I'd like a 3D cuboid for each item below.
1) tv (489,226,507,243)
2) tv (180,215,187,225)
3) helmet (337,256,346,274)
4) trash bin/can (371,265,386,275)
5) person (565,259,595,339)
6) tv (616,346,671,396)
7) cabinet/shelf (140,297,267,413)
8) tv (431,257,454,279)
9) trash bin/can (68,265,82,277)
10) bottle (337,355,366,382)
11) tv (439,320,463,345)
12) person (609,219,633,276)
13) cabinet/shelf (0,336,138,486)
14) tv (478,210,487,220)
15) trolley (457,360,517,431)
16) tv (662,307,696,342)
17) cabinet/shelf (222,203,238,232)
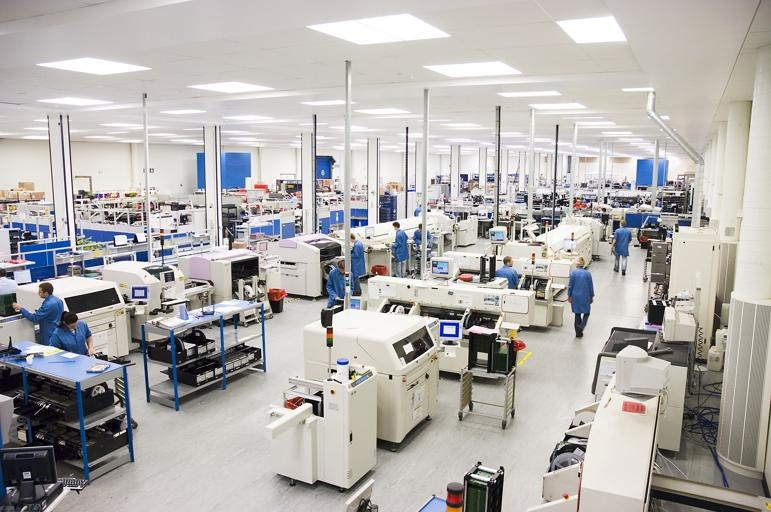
[{"bbox_3d":[2.961,-0.552,13.932,0.426,0.306,0.428,4,9,24],"label":"tv"},{"bbox_3d":[-6.286,-1.125,16.594,0.209,0.300,0.347,1,4,20],"label":"tv"},{"bbox_3d":[-0.950,0.235,11.445,0.111,0.276,0.253,-3,8,-15],"label":"helmet"},{"bbox_3d":[-0.144,0.408,14.282,0.434,0.298,0.835,0,8,-1],"label":"trash bin/can"},{"bbox_3d":[4.071,0.802,11.094,0.454,1.670,1.192,3,8,21],"label":"person"},{"bbox_3d":[2.990,1.289,6.190,0.555,0.409,0.495,4,13,29],"label":"tv"},{"bbox_3d":[-3.081,1.703,8.899,0.535,0.953,1.516,6,15,24],"label":"cabinet/shelf"},{"bbox_3d":[1.060,0.232,9.971,0.419,0.351,0.229,4,6,32],"label":"tv"},{"bbox_3d":[-6.670,0.331,11.470,0.202,0.202,0.207,-2,4,29],"label":"trash bin/can"},{"bbox_3d":[-0.491,1.444,6.829,0.231,0.309,0.370,4,9,30],"label":"bottle"},{"bbox_3d":[1.114,1.292,9.008,0.412,0.453,0.341,0,8,1],"label":"tv"},{"bbox_3d":[7.314,-0.213,16.535,0.436,1.414,1.843,3,9,24],"label":"person"},{"bbox_3d":[-4.179,2.081,6.991,1.532,1.096,0.555,14,23,37],"label":"cabinet/shelf"},{"bbox_3d":[4.074,-1.687,22.242,0.476,0.324,0.435,0,-6,4],"label":"tv"},{"bbox_3d":[1.588,2.196,8.292,0.897,1.136,0.652,4,6,29],"label":"trolley"},{"bbox_3d":[4.445,1.128,8.050,0.458,0.376,0.624,1,14,21],"label":"tv"},{"bbox_3d":[-4.786,-1.191,16.685,0.445,0.779,1.007,-4,9,-27],"label":"cabinet/shelf"}]
